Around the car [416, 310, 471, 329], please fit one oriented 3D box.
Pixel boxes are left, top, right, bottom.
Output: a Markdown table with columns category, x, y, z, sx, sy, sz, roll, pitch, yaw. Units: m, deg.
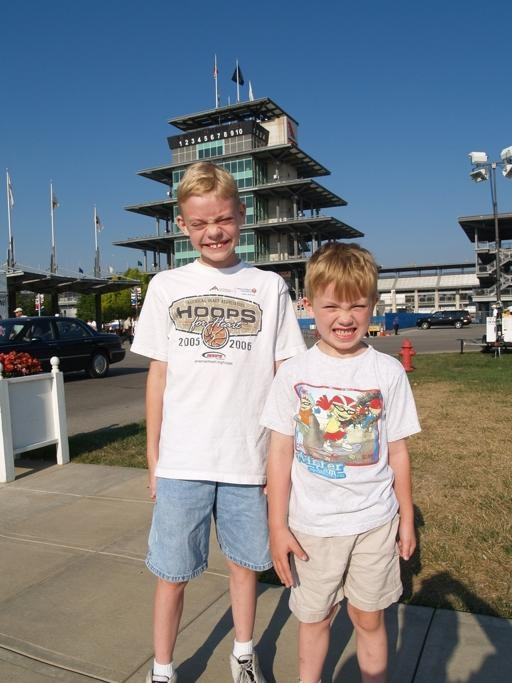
| category | x | y | z | sx | sy | sz | roll | pitch | yaw |
| --- | --- | --- | --- | --- | --- | --- | --- | --- | --- |
| car | 13.916 | -1.613 | 46.427 | 3.500 | 1.279 | 1.601 | 5 | 7 | 27 |
